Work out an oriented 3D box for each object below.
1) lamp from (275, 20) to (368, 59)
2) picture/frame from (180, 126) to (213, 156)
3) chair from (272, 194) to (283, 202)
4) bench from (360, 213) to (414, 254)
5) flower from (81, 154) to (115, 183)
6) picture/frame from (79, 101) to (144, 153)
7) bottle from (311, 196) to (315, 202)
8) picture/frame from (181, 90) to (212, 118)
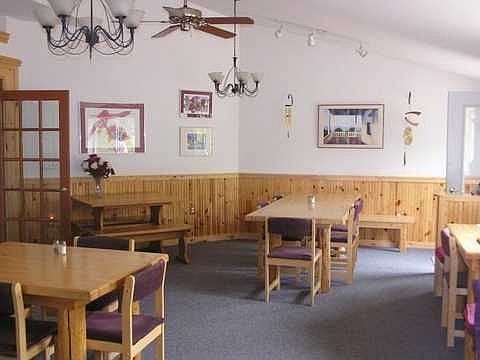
[{"bbox_3d":[1.329,-2.208,6.264,1.501,0.550,1.054,1,8,6],"label":"lamp"},{"bbox_3d":[-0.775,-0.655,6.759,0.473,0.451,0.032,-2,8,-25],"label":"picture/frame"},{"bbox_3d":[0.574,0.273,6.131,0.124,0.128,0.121,0,-1,-44],"label":"chair"},{"bbox_3d":[2.407,0.858,6.559,0.848,0.542,0.536,3,8,20],"label":"bench"},{"bbox_3d":[-2.037,-0.179,5.855,0.442,0.416,0.450,9,15,-36],"label":"flower"},{"bbox_3d":[-2.034,-0.812,6.154,0.760,0.635,0.012,-1,3,-31],"label":"picture/frame"},{"bbox_3d":[1.017,0.262,5.493,0.073,0.085,0.077,2,3,0],"label":"bottle"},{"bbox_3d":[-0.766,-1.272,6.717,0.449,0.387,0.017,-1,8,-24],"label":"picture/frame"}]
